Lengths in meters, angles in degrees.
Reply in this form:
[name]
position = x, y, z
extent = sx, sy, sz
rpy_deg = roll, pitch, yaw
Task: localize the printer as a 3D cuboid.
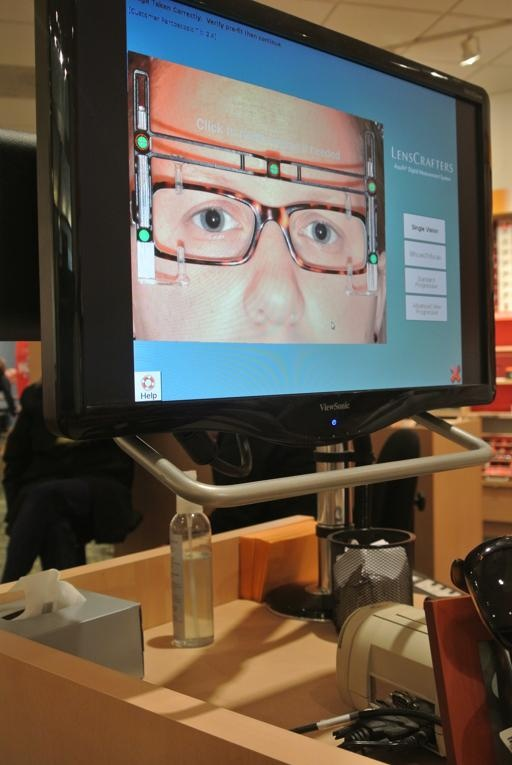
[printer]
position = 0.106, 0.220, 0.539
extent = 0.111, 0.107, 0.089
rpy_deg = -4, -9, 43
